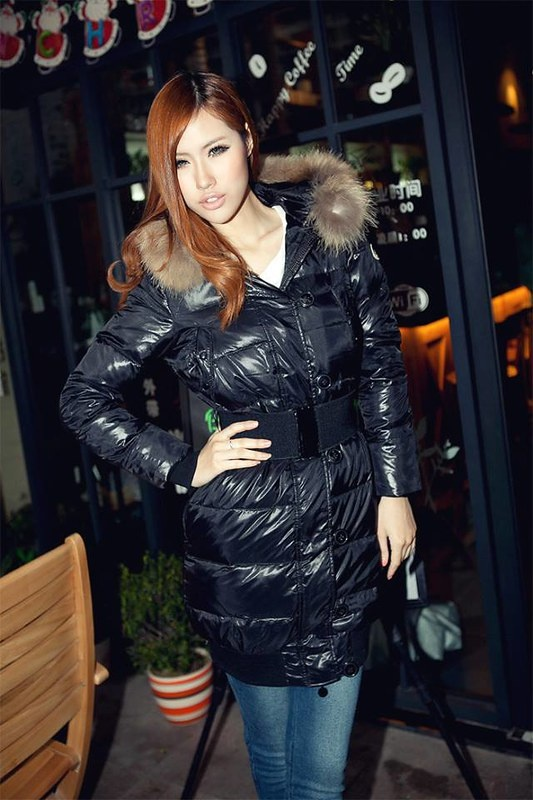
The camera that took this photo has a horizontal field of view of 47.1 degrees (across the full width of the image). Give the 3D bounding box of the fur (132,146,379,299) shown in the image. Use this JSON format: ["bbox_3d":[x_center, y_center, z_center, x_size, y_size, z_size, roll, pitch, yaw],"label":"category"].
[{"bbox_3d":[0.002,-0.375,1.440,0.456,0.404,0.158,-30,-31,15],"label":"fur"}]
